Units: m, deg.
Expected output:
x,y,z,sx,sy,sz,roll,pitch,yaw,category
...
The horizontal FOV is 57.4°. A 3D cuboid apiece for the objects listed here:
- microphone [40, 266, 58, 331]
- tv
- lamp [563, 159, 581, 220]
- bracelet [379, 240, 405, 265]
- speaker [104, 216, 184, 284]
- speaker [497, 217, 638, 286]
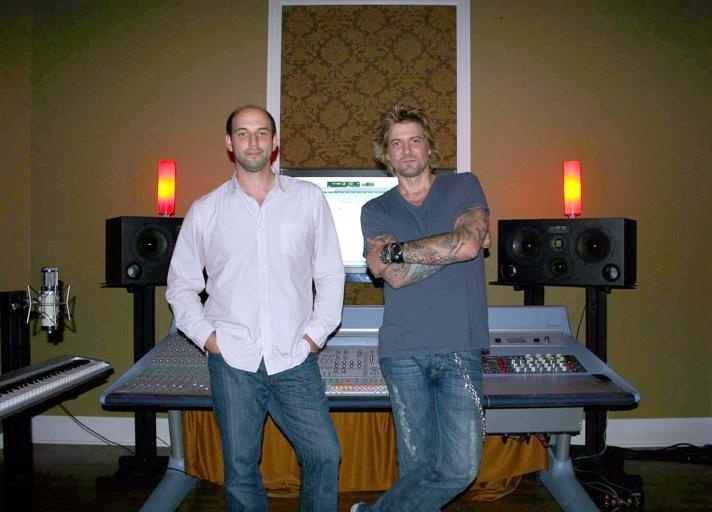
x,y,z,sx,sy,sz,roll,pitch,yaw,category
-1.935,0.273,4.071,0.118,0.401,0.106,-1,3,-3,microphone
-0.105,-0.230,4.198,0.106,0.785,1.071,19,19,38,tv
1.456,-0.458,4.370,0.102,0.373,0.078,0,3,16,lamp
0.182,-0.014,3.288,0.117,0.047,0.087,-4,-24,-30,bracelet
-1.370,-0.053,4.170,0.415,0.413,0.300,-2,7,-42,speaker
1.283,-0.019,4.017,0.782,0.432,0.221,0,3,11,speaker
